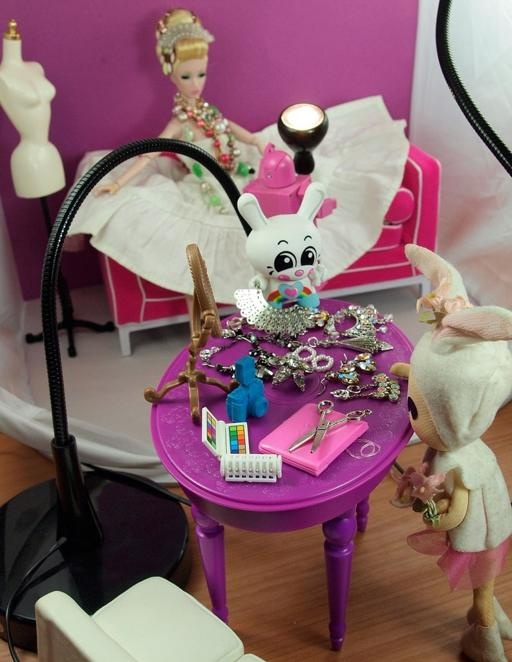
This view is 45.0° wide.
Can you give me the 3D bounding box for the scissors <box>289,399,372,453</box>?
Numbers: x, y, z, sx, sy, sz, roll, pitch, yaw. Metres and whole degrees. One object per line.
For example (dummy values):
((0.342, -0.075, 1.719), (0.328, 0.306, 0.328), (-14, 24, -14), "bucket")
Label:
((0.147, 0.184, 1.281), (0.088, 0.011, 0.152), (9, 25, 36), "scissors")
